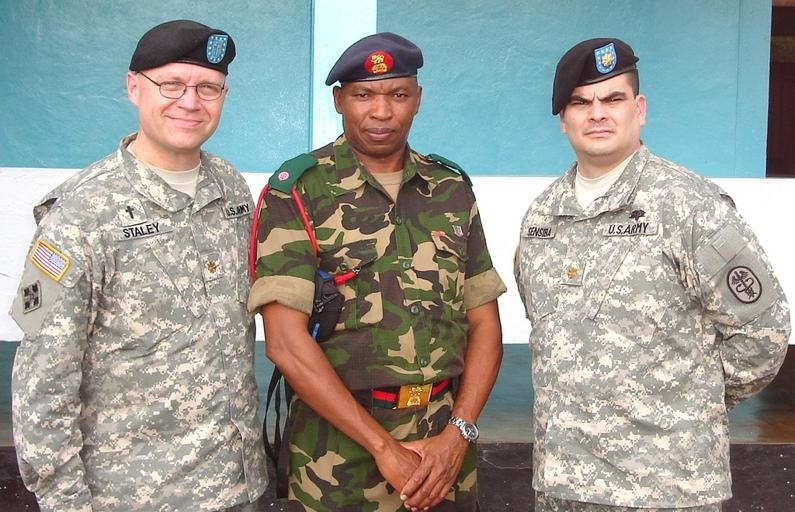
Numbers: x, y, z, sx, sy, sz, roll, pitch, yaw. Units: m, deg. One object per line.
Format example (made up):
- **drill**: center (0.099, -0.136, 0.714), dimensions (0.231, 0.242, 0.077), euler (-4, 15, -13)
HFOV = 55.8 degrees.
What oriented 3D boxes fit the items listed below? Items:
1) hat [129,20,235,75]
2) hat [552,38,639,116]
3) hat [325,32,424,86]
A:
- **hat**: center (-0.937, -0.891, 3.223), dimensions (0.351, 0.117, 0.284), euler (0, 9, 16)
- **hat**: center (0.885, -0.805, 3.394), dimensions (0.341, 0.140, 0.363), euler (-15, 9, 0)
- **hat**: center (-0.085, -0.844, 3.347), dimensions (0.338, 0.111, 0.295), euler (3, 14, 38)
